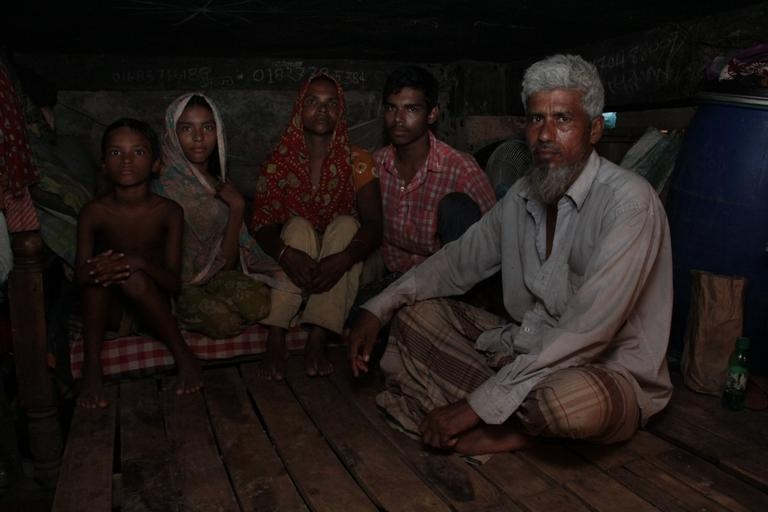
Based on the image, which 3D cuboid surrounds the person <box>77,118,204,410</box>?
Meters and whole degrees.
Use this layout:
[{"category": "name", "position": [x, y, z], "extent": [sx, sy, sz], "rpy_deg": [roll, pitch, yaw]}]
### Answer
[{"category": "person", "position": [-1.476, -0.006, 3.224], "extent": [0.639, 1.504, 0.796], "rpy_deg": [-7, 19, -17]}]

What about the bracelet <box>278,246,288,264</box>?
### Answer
[{"category": "bracelet", "position": [-0.645, -0.001, 3.551], "extent": [0.023, 0.092, 0.092], "rpy_deg": [23, -1, 9]}]
